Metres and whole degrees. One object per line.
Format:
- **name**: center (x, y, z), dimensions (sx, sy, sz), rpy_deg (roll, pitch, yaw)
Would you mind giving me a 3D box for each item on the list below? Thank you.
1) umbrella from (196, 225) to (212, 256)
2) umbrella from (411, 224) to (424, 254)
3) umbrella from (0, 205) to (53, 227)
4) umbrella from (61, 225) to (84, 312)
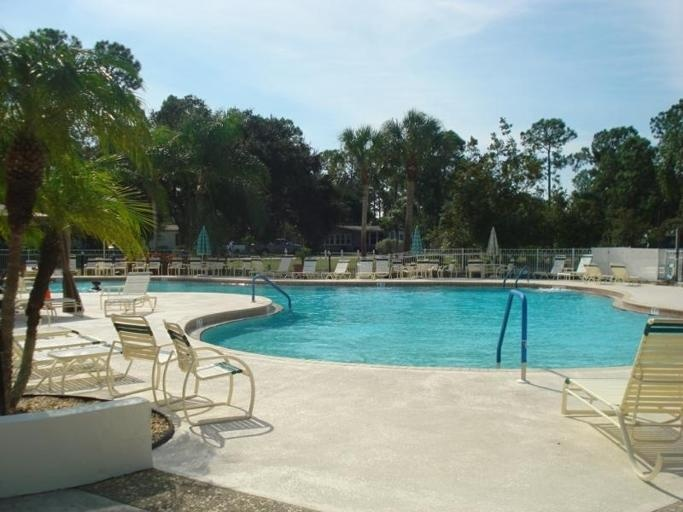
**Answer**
- **umbrella**: center (-7.712, -0.807, 33.490), dimensions (0.734, 1.668, 1.384), rpy_deg (0, 3, -14)
- **umbrella**: center (4.134, -0.895, 33.017), dimensions (0.622, 1.535, 2.555), rpy_deg (1, 3, 7)
- **umbrella**: center (-3.608, -0.456, 6.827), dimensions (0.478, 0.207, 0.984), rpy_deg (0, 3, -29)
- **umbrella**: center (-6.505, 0.157, 14.439), dimensions (0.354, 2.006, 0.451), rpy_deg (1, 33, -12)
